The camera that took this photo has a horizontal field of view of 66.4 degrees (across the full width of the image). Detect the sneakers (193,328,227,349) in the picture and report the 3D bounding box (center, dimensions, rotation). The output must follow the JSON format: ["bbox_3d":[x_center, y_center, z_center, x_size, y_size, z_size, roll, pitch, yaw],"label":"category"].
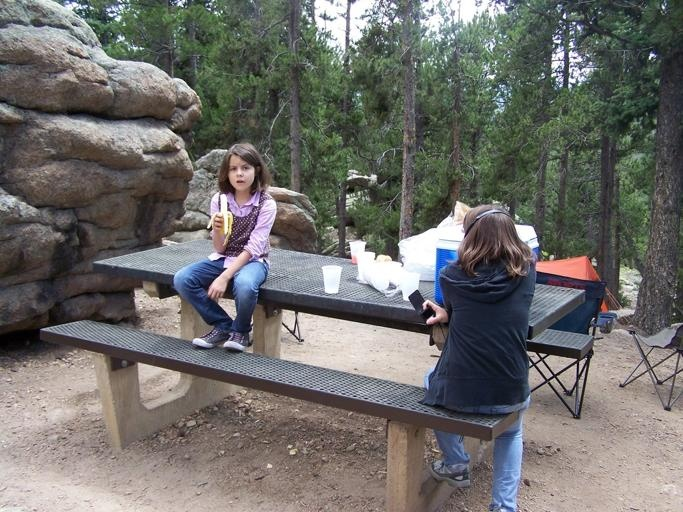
[{"bbox_3d":[-1.028,0.650,4.225,0.115,0.138,0.331,12,5,32],"label":"sneakers"}]

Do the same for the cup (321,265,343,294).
[{"bbox_3d":[-0.082,0.170,3.871,0.172,0.195,0.170,0,2,0],"label":"cup"}]

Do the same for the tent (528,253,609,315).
[{"bbox_3d":[3.892,0.219,8.861,1.256,0.590,1.316,3,7,27],"label":"tent"}]

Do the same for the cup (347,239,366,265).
[{"bbox_3d":[0.115,-0.042,4.509,0.169,0.179,0.176,0,0,0],"label":"cup"}]

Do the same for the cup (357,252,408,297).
[{"bbox_3d":[0.325,0.133,4.007,0.255,0.224,0.585,-1,12,-20],"label":"cup"}]
